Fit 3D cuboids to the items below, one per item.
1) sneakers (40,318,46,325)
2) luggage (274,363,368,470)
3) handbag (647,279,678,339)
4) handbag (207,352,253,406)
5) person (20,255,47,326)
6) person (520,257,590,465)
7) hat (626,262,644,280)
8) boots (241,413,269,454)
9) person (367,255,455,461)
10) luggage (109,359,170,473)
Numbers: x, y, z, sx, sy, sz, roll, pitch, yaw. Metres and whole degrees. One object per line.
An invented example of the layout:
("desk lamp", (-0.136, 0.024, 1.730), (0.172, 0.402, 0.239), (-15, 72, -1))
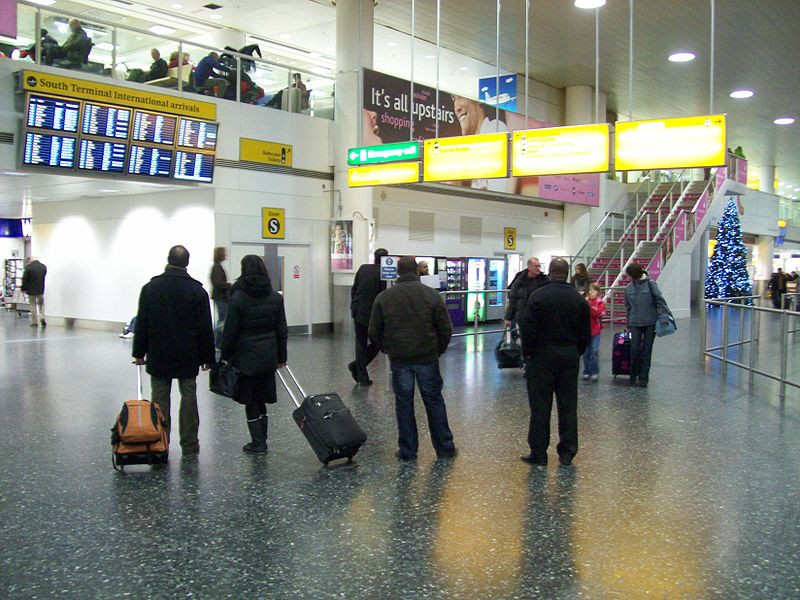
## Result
("sneakers", (-9.931, 0.626, 17.184), (0.163, 0.243, 0.172), (0, -1, -21))
("luggage", (-0.659, 1.193, 5.681), (0.621, 0.617, 0.356), (4, 6, 43))
("handbag", (3.954, 0.131, 9.346), (0.385, 0.830, 0.477), (2, 4, 23))
("handbag", (-1.620, 0.718, 5.904), (0.462, 0.455, 0.179), (-3, -15, 40))
("person", (-9.903, -0.211, 16.681), (0.511, 1.841, 1.215), (-2, 5, -31))
("person", (1.429, 0.685, 5.714), (0.609, 1.657, 0.288), (1, 4, 8))
("hat", (3.527, -0.458, 9.318), (0.234, 0.275, 0.274), (0, 28, 5))
("boots", (-1.395, 1.314, 6.096), (0.253, 0.419, 0.346), (-3, 9, -38))
("person", (0.125, 0.546, 5.825), (0.834, 1.891, 0.310), (1, 4, 3))
("luggage", (-2.274, 1.203, 5.387), (0.435, 0.600, 0.298), (-1, 4, -24))
